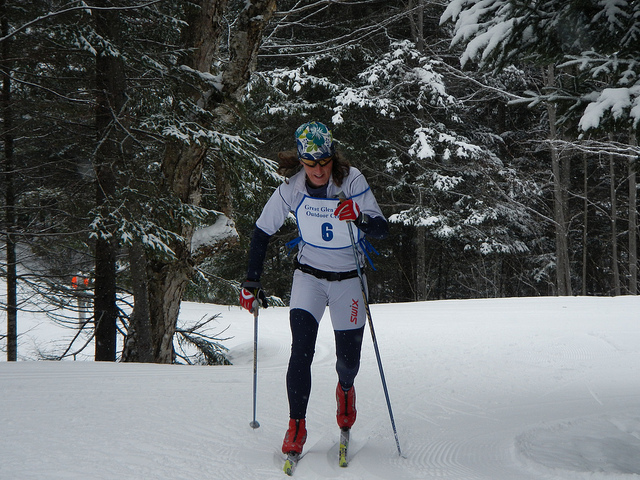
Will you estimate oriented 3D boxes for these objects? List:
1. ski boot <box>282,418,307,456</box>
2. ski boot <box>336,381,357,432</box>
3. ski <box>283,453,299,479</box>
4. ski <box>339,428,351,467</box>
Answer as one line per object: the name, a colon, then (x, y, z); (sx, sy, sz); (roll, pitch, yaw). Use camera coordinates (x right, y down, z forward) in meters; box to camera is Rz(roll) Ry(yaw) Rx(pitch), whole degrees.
ski boot: (-0.294, 2.239, 7.808); (0.234, 0.449, 0.448); (7, -38, 2)
ski boot: (0.284, 1.854, 7.867); (0.216, 0.454, 0.341); (1, 11, 1)
ski: (-0.313, 2.404, 7.501); (0.070, 0.153, 0.272); (4, 39, 6)
ski: (0.262, 2.251, 7.718); (0.098, 0.316, 0.356); (2, 12, 3)
